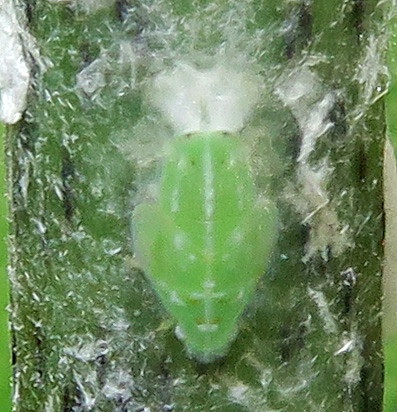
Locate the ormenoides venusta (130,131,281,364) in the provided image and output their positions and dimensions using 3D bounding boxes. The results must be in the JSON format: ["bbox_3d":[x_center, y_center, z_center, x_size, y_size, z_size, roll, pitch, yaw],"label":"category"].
[{"bbox_3d":[0.033,0.115,3.221,0.400,0.199,0.808,-3,93,-5],"label":"ormenoides venusta"}]
